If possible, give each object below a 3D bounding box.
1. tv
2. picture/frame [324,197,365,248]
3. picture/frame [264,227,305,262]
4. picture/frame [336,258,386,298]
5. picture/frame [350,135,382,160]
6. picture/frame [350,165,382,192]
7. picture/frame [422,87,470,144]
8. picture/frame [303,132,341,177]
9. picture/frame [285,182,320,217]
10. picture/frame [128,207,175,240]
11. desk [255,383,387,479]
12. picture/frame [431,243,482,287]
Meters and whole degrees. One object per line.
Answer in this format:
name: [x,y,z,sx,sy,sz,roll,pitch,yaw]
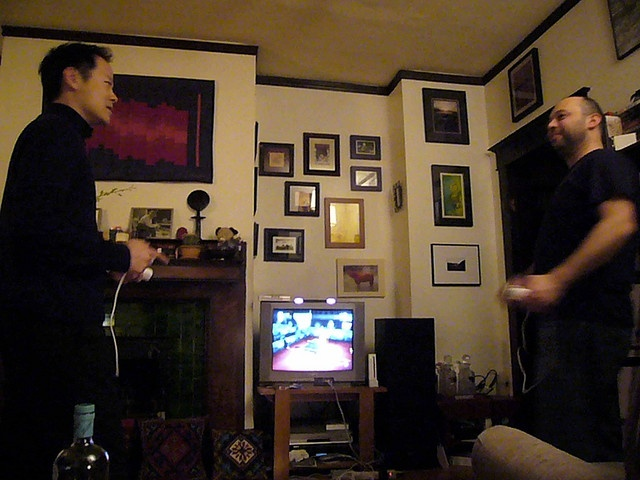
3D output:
tv: [-0.061,0.757,4.077,0.959,0.700,0.533,0,-8,-5]
picture/frame: [0.195,-0.131,4.801,0.418,0.500,0.035,1,-9,-14]
picture/frame: [-0.309,0.047,4.671,0.276,0.238,0.021,1,-10,-9]
picture/frame: [0.328,0.333,4.742,0.331,0.253,0.012,0,-5,-10]
picture/frame: [0.392,-0.814,4.963,0.220,0.169,0.015,0,-3,-7]
picture/frame: [0.389,-0.530,4.916,0.227,0.172,0.023,2,-9,-11]
picture/frame: [1.069,-1.057,4.844,0.497,0.571,0.019,2,-16,-16]
picture/frame: [0.003,-0.726,4.862,0.370,0.410,0.028,2,-7,-14]
picture/frame: [-0.162,-0.336,4.770,0.282,0.271,0.040,2,-9,-10]
picture/frame: [-1.215,-0.111,4.011,0.234,0.202,0.025,1,-25,-9]
desk: [0.036,1.450,3.807,1.015,0.735,0.564,0,2,-8]
picture/frame: [1.108,0.221,4.645,0.353,0.304,0.035,1,-13,-6]
